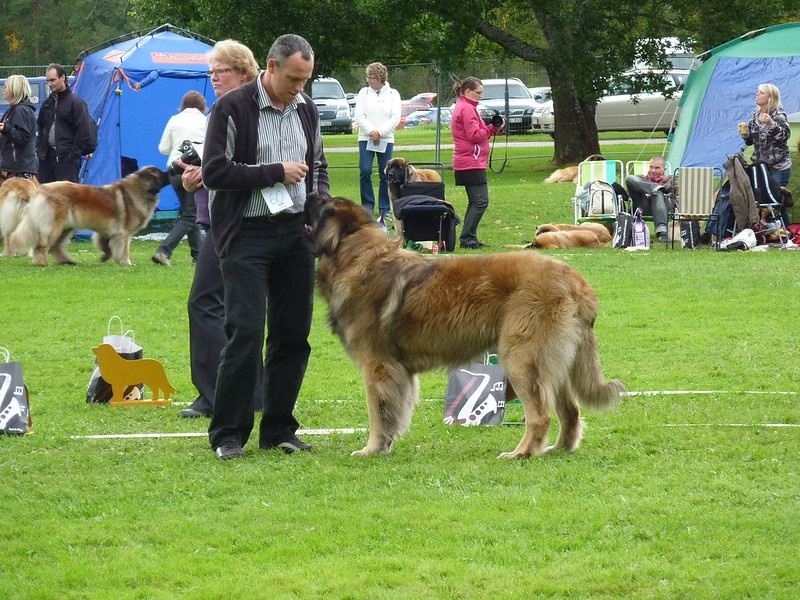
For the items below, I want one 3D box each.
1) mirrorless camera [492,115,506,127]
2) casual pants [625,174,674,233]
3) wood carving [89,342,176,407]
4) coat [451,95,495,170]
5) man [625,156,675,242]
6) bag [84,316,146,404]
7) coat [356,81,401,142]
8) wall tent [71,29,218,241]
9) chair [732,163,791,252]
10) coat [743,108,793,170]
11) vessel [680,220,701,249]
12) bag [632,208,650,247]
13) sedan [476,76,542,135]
[{"bbox_3d":[1.513,-2.766,20.751,0.206,0.211,0.224,2,-6,9],"label":"mirrorless camera"},{"bbox_3d":[4.089,-1.631,22.050,0.578,1.079,1.308,-1,32,18],"label":"casual pants"},{"bbox_3d":[-2.883,0.834,14.633,0.651,0.471,0.190,1,10,-3],"label":"wood carving"},{"bbox_3d":[1.093,-2.530,20.532,0.531,1.123,0.368,-1,4,-1],"label":"coat"},{"bbox_3d":[4.140,-1.653,22.270,0.773,1.781,1.070,1,-23,11],"label":"man"},{"bbox_3d":[-3.092,0.776,14.814,0.490,0.886,0.621,18,-1,-12],"label":"bag"},{"bbox_3d":[-0.319,-2.966,21.589,0.728,0.964,0.580,4,16,7],"label":"coat"},{"bbox_3d":[-4.464,-3.337,23.800,2.911,2.509,2.841,4,15,-27],"label":"wall tent"},{"bbox_3d":[5.509,-1.525,21.146,1.047,1.227,0.989,-2,-1,-22],"label":"chair"},{"bbox_3d":[5.668,-2.487,20.982,0.708,0.935,0.557,1,5,25],"label":"coat"},{"bbox_3d":[4.610,-1.032,21.484,0.259,0.455,0.313,14,-21,-33],"label":"vessel"},{"bbox_3d":[3.827,-1.112,21.496,0.267,0.597,0.628,0,4,10],"label":"bag"},{"bbox_3d":[2.957,-5.314,35.541,1.616,1.445,3.338,-1,2,-4],"label":"sedan"}]
